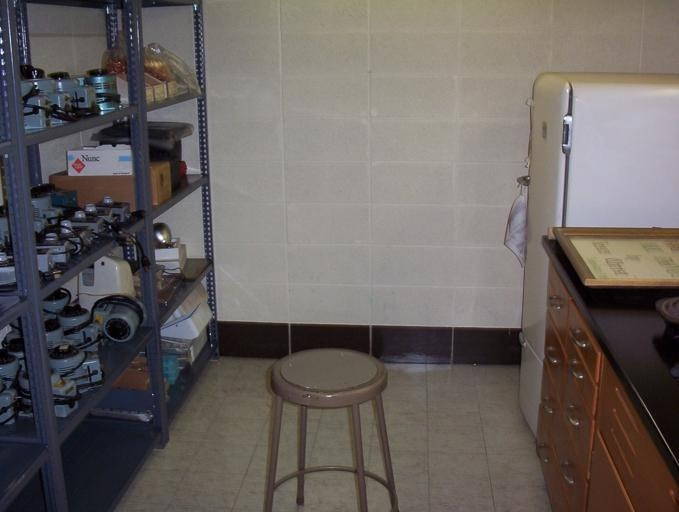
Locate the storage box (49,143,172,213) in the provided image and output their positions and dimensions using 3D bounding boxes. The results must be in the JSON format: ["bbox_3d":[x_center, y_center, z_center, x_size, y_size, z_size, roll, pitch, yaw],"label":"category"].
[{"bbox_3d":[-1.117,-0.384,2.833,0.363,0.261,0.398,-1,16,-2],"label":"storage box"}]
